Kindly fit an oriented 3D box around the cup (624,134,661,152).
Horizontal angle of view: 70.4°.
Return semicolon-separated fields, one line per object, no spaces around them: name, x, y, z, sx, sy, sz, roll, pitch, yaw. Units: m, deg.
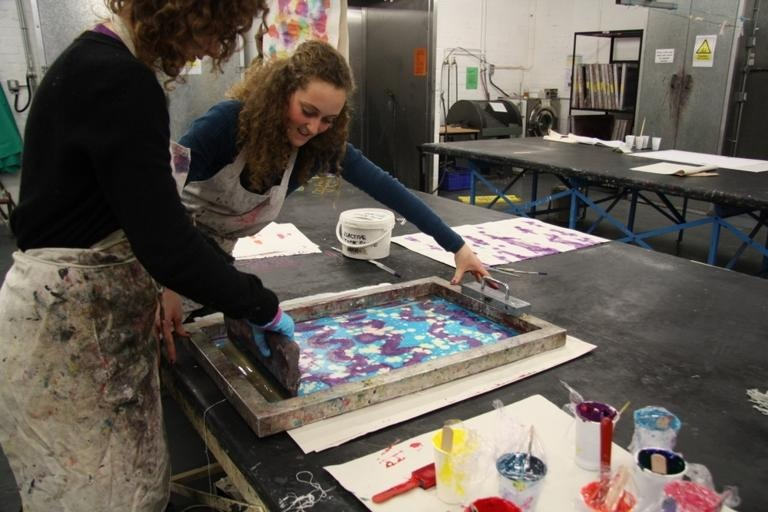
cup;2.320;-1.015;4.909;0.255;0.129;0.354;3;6;13

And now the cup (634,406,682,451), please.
cup;0.625;0.393;1.277;0.095;0.097;0.106;8;14;38

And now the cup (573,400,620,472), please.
cup;0.495;0.403;1.279;0.092;0.130;0.153;6;20;25

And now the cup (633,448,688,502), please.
cup;0.581;0.459;1.159;0.104;0.076;0.103;-2;21;1

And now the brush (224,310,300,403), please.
brush;-0.343;0.260;1.557;0.043;0.148;0.409;-28;31;-31

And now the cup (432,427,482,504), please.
cup;0.138;0.464;1.208;0.077;0.152;0.130;8;19;3
